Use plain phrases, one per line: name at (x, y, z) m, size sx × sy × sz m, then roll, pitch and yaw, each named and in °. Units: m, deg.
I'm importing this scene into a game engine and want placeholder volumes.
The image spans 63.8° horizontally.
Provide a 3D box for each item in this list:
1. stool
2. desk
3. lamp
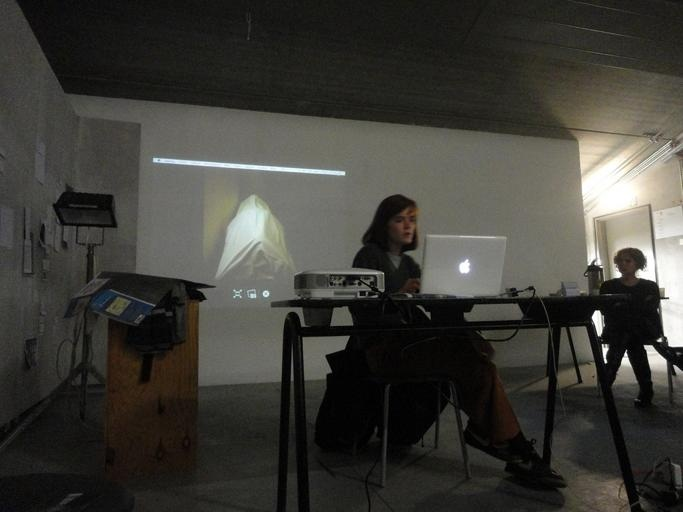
stool at (0.540, 1.069, 3.484) m, size 0.629 × 0.657 × 0.552 m, roll -1°, pitch -18°, yaw 0°
desk at (0.588, 0.799, 3.022) m, size 1.911 × 1.190 × 0.761 m, roll 1°, pitch 0°, yaw -13°
lamp at (-2.142, 0.328, 4.572) m, size 0.492 × 1.742 × 1.428 m, roll 1°, pitch 0°, yaw -23°
